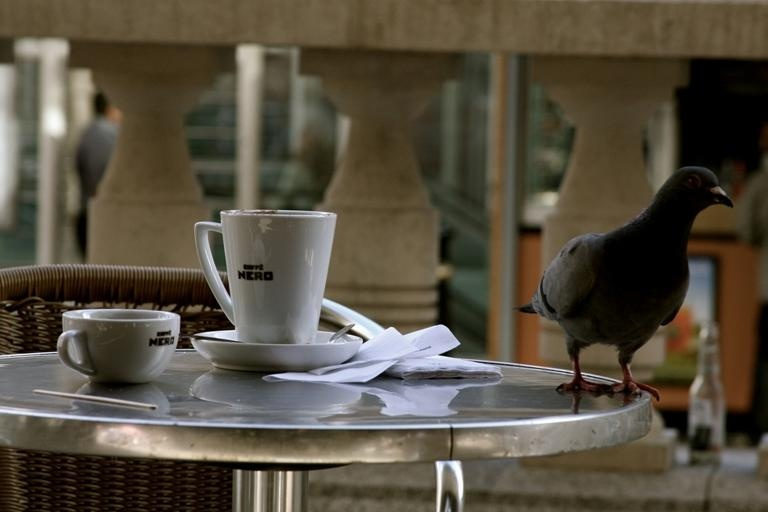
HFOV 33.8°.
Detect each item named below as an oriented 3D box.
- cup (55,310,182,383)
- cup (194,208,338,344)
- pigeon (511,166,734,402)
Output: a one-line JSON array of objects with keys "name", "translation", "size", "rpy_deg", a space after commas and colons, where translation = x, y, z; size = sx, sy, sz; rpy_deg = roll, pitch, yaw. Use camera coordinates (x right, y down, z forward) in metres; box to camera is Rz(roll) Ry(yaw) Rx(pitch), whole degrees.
[{"name": "cup", "translation": [-0.581, 0.184, 2.754], "size": [0.213, 0.103, 0.168], "rpy_deg": [-1, -1, -4]}, {"name": "cup", "translation": [-0.278, 0.041, 2.932], "size": [0.339, 0.313, 0.266], "rpy_deg": [3, 3, 10]}, {"name": "pigeon", "translation": [0.544, 0.052, 3.085], "size": [0.337, 0.538, 0.694], "rpy_deg": [6, -1, -26]}]
